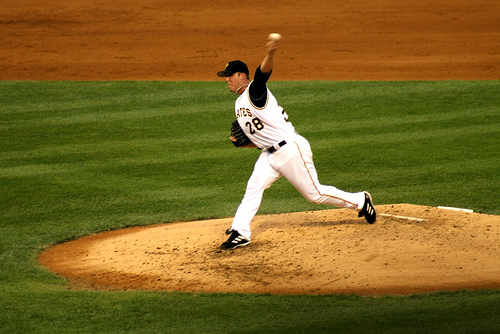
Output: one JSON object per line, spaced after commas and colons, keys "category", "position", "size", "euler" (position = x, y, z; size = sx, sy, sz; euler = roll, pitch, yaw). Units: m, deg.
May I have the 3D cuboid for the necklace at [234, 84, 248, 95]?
{"category": "necklace", "position": [-0.142, -1.262, 14.004], "size": [0.042, 0.156, 0.165], "euler": [46, -11, -14]}

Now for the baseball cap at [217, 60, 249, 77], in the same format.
{"category": "baseball cap", "position": [-0.282, -1.599, 14.043], "size": [0.450, 0.196, 0.262], "euler": [4, 4, -5]}

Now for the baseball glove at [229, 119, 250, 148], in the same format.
{"category": "baseball glove", "position": [-0.192, -0.514, 14.072], "size": [0.182, 0.390, 0.337], "euler": [1, -8, -10]}

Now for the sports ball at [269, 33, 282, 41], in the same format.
{"category": "sports ball", "position": [0.388, -2.018, 13.456], "size": [0.161, 0.098, 0.226], "euler": [-1, 11, -1]}
